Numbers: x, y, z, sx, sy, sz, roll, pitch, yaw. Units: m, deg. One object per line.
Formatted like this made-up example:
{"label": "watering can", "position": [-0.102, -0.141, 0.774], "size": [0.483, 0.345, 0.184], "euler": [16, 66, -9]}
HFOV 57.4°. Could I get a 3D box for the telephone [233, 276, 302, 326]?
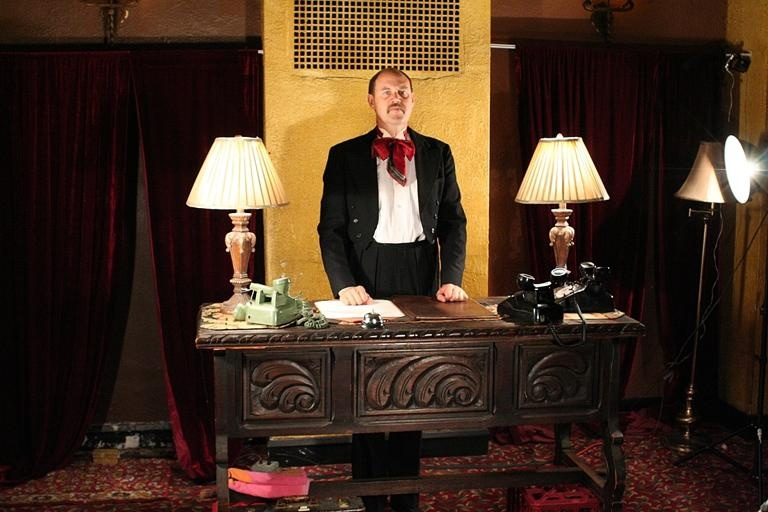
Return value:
{"label": "telephone", "position": [-0.619, 0.241, 3.970], "size": [0.350, 0.218, 0.323], "euler": [-4, 9, -44]}
